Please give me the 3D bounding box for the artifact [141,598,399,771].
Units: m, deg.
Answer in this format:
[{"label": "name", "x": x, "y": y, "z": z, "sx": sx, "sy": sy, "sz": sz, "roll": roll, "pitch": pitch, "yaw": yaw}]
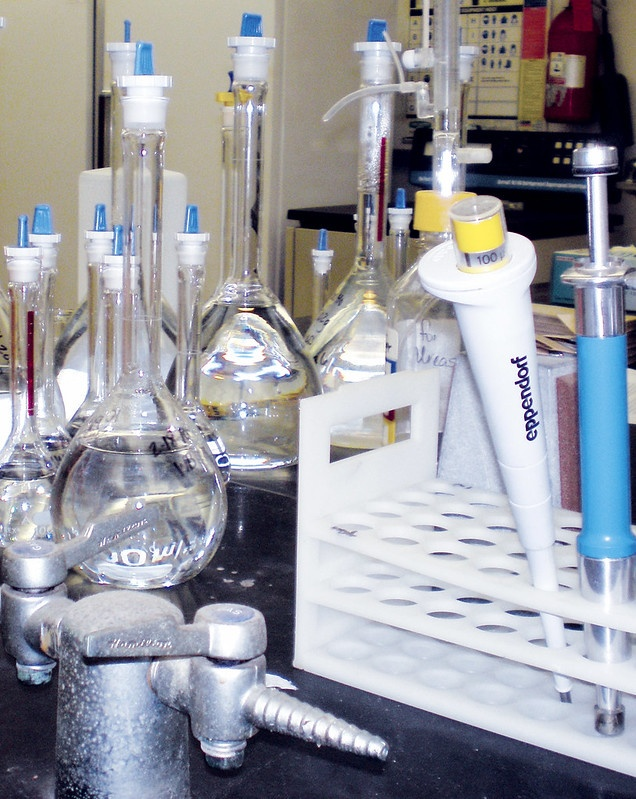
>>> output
[{"label": "artifact", "x": -0.016, "y": 0.109, "z": 0.352, "sx": 0.105, "sy": 0.051, "sz": 0.028, "roll": 3, "pitch": 2, "yaw": 37}]
